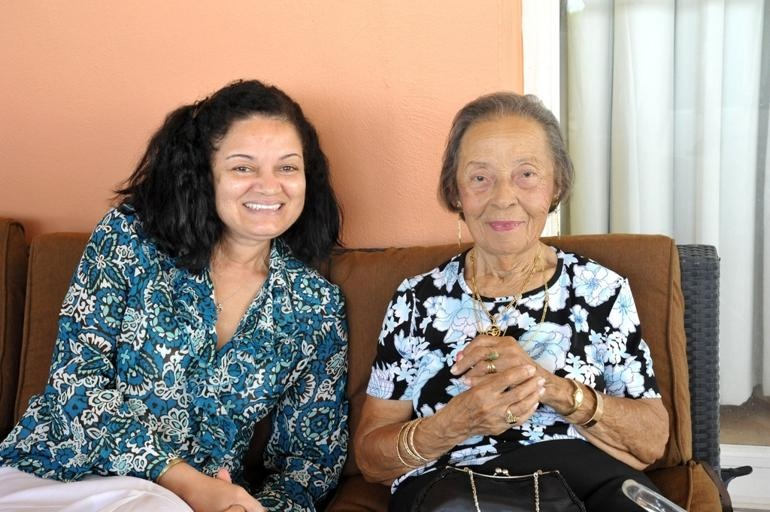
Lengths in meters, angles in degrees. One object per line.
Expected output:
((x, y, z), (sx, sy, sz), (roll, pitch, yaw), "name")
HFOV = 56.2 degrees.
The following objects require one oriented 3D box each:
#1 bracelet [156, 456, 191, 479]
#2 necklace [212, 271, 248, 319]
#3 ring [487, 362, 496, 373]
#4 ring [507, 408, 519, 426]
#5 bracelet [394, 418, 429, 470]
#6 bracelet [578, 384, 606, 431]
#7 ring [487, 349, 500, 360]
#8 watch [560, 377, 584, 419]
((-0.661, 0.653, 2.250), (0.069, 0.020, 0.073), (-39, -5, -42), "bracelet")
((-0.532, 0.116, 2.500), (0.103, 0.185, 0.044), (5, -22, -15), "necklace")
((0.327, 0.344, 2.223), (0.022, 0.030, 0.008), (-9, 6, 17), "ring")
((0.386, 0.488, 2.204), (0.034, 0.060, 0.033), (-1, 0, 0), "ring")
((0.069, 0.598, 2.283), (0.053, 0.132, 0.124), (4, -42, -40), "bracelet")
((0.631, 0.469, 2.220), (0.031, 0.106, 0.091), (13, -25, -31), "bracelet")
((0.333, 0.310, 2.218), (0.032, 0.025, 0.012), (-13, 2, 29), "ring")
((0.583, 0.428, 2.198), (0.030, 0.087, 0.087), (16, -31, -24), "watch")
